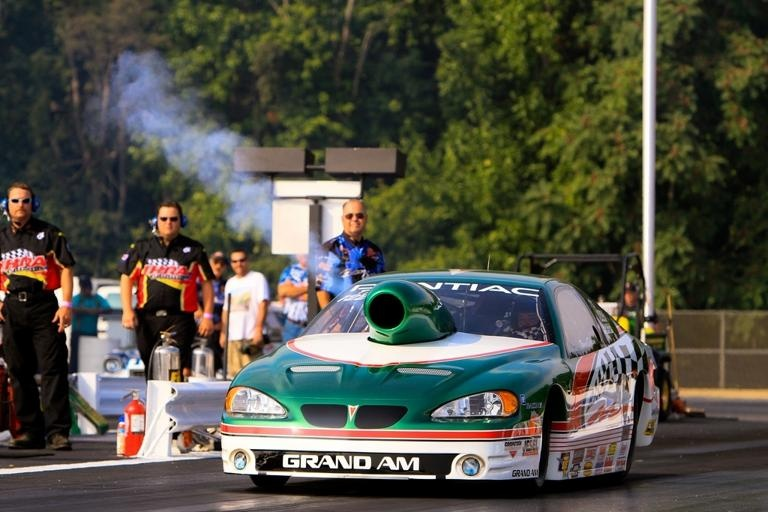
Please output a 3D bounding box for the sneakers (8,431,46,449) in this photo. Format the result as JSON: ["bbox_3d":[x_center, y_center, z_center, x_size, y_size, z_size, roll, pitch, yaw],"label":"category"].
[{"bbox_3d":[-5.525,2.864,27.691,0.554,0.237,0.215,-2,2,-1],"label":"sneakers"}]

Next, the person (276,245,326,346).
[{"bbox_3d":[-1.534,0.749,31.418,0.684,1.625,0.658,1,-3,-1],"label":"person"}]

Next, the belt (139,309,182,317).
[{"bbox_3d":[-3.500,0.888,27.840,0.664,0.118,0.063,1,4,-4],"label":"belt"}]

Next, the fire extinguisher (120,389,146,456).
[{"bbox_3d":[-3.845,2.549,27.354,0.385,0.981,0.349,0,5,-8],"label":"fire extinguisher"}]

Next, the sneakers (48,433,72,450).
[{"bbox_3d":[-5.049,2.880,27.737,0.390,0.232,0.224,1,4,-2],"label":"sneakers"}]

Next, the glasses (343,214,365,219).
[{"bbox_3d":[-0.475,-0.635,28.151,0.320,0.108,0.101,1,4,-2],"label":"glasses"}]
